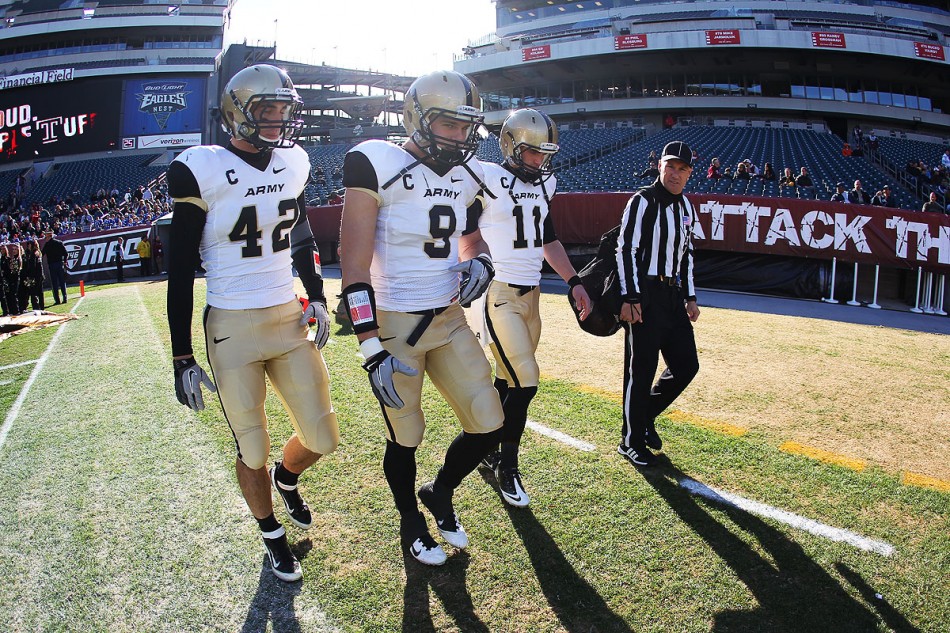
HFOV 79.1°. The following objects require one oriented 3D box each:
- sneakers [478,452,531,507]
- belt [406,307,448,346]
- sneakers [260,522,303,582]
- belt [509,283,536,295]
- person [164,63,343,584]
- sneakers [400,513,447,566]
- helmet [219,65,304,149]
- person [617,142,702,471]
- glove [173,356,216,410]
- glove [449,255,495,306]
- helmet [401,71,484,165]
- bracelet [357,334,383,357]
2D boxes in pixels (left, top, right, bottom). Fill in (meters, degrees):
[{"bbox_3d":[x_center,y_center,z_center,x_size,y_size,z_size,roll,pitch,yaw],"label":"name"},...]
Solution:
[{"bbox_3d":[0.184,1.115,4.030,0.477,0.190,0.174,45,15,24],"label":"sneakers"},{"bbox_3d":[-0.281,0.057,3.271,0.062,0.205,0.151,37,1,-42],"label":"belt"},{"bbox_3d":[-1.144,1.378,3.444,0.140,0.182,0.427,-3,7,-35],"label":"sneakers"},{"bbox_3d":[0.341,-0.203,4.173,0.113,0.039,0.085,14,10,38],"label":"belt"},{"bbox_3d":[-1.296,0.011,3.367,0.875,2.910,0.735,-7,13,-28],"label":"person"},{"bbox_3d":[-0.291,1.308,3.481,0.407,0.257,0.161,2,2,41],"label":"sneakers"},{"bbox_3d":[-1.303,-1.279,3.548,0.548,0.459,0.446,20,28,29],"label":"helmet"},{"bbox_3d":[1.384,-0.155,4.399,0.937,2.334,0.654,-11,15,-42],"label":"person"},{"bbox_3d":[-1.604,0.378,3.353,0.231,0.303,0.091,-27,-7,-4],"label":"glove"},{"bbox_3d":[-0.004,-0.232,3.440,0.279,0.128,0.225,-32,-15,-31],"label":"glove"},{"bbox_3d":[-0.181,-1.132,3.276,0.444,0.533,0.385,-2,12,-7],"label":"helmet"},{"bbox_3d":[-0.555,0.156,3.120,0.108,0.112,0.109,-24,0,-27],"label":"bracelet"}]
